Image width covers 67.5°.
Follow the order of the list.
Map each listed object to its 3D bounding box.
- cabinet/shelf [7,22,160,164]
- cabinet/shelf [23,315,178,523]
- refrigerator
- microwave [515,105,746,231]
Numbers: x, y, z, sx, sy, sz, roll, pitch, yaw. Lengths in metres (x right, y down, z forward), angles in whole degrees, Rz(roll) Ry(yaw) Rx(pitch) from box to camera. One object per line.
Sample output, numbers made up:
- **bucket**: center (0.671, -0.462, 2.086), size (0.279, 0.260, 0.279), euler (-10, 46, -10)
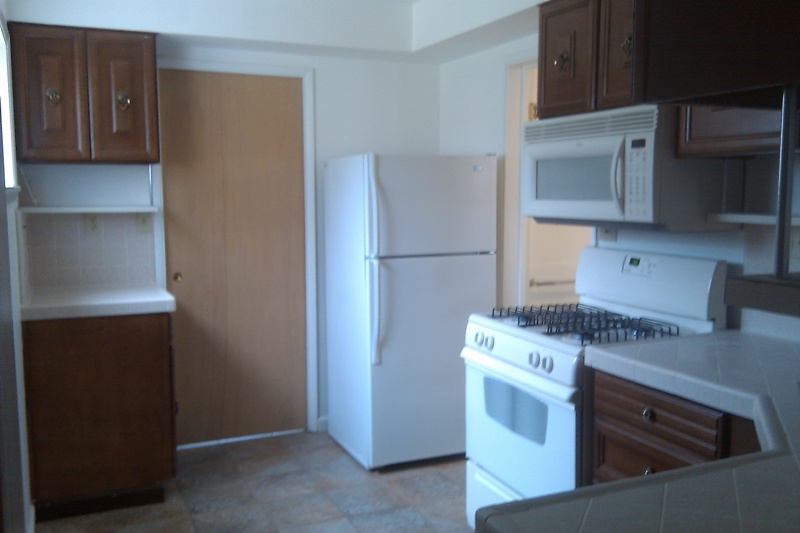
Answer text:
- **cabinet/shelf**: center (-1.821, -0.991, 3.377), size (0.866, 0.854, 0.357), euler (1, 2, -26)
- **cabinet/shelf**: center (-1.725, 0.771, 3.870), size (0.945, 1.406, 0.931), euler (-3, 7, -21)
- **refrigerator**: center (0.044, 0.270, 3.852), size (1.113, 1.946, 0.557), euler (0, 7, 2)
- **microwave**: center (1.045, -0.329, 2.780), size (0.526, 0.490, 0.922), euler (-1, 2, -24)
